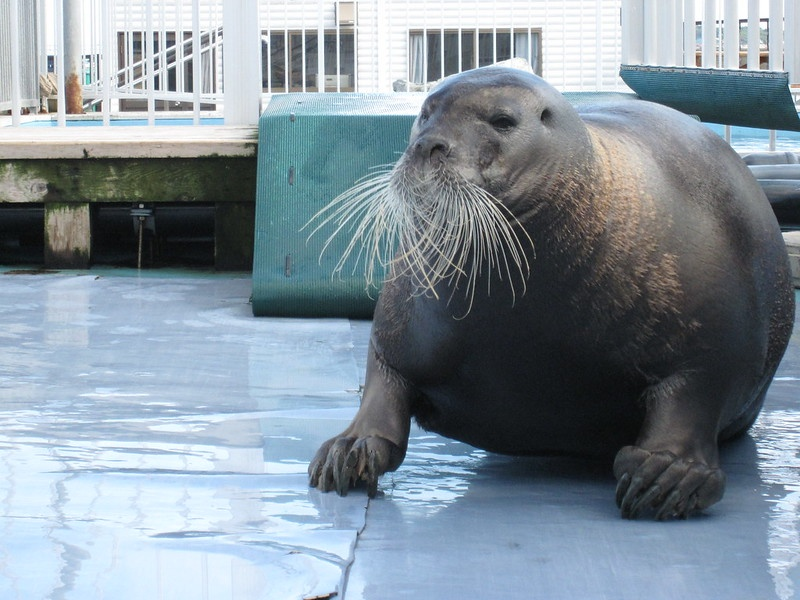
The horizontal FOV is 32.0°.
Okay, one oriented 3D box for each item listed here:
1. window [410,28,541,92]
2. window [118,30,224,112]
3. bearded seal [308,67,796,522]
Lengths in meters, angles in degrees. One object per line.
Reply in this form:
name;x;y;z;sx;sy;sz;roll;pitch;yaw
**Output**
window;1.341;-3.525;20.246;0.092;0.935;1.943;-21;21;-36
window;-2.789;-3.071;17.867;0.110;1.100;2.073;-23;22;-29
bearded seal;0.523;-0.044;4.588;1.566;1.428;0.647;0;10;-4
